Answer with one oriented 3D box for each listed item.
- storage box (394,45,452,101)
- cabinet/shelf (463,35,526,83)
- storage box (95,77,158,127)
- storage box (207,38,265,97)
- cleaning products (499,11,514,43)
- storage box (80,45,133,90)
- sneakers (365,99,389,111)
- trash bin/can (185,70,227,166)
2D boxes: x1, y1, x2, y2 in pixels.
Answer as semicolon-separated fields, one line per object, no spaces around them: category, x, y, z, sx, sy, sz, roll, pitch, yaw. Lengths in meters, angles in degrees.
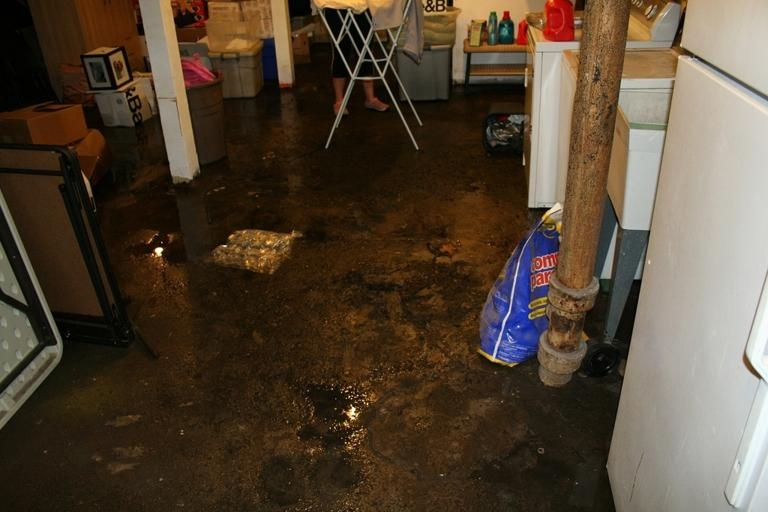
storage box;0.519;-2.433;7.034;0.653;0.659;0.659;-1;29;-2
cabinet/shelf;1.478;-2.540;7.135;0.996;0.494;0.569;2;60;3
storage box;-3.147;-1.847;6.442;0.374;0.478;0.694;6;34;9
storage box;-2.081;-2.749;7.542;0.693;0.862;0.765;-6;34;-10
cleaning products;1.571;-2.893;6.759;0.234;0.375;0.216;0;31;3
storage box;-3.384;-2.262;6.489;0.534;0.377;0.513;-20;33;-20
sneakers;-0.073;-1.922;6.758;0.299;0.120;0.146;16;50;30
trash bin/can;-1.757;-1.339;5.442;0.561;0.744;0.552;-12;14;-13
